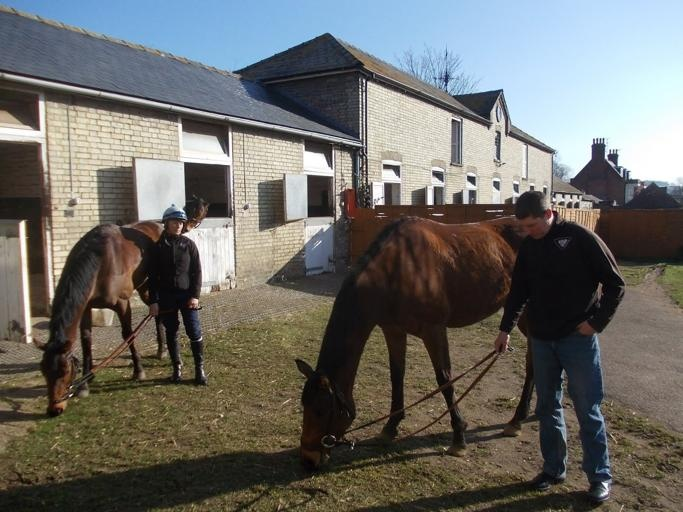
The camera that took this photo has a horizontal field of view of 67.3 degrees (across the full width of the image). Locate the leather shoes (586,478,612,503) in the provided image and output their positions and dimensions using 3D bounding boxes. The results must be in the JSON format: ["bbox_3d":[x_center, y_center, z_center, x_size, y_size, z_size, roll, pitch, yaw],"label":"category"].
[{"bbox_3d":[2.383,2.170,4.752,0.110,0.143,0.317,-13,-18,34],"label":"leather shoes"}]

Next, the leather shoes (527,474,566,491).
[{"bbox_3d":[1.975,2.142,4.946,0.346,0.178,0.145,5,-15,-24],"label":"leather shoes"}]

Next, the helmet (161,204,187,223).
[{"bbox_3d":[-2.204,-0.545,6.771,0.275,0.228,0.216,-1,1,31],"label":"helmet"}]

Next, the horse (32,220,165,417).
[{"bbox_3d":[-3.077,0.672,6.756,0.756,2.000,2.176,0,11,1],"label":"horse"}]
